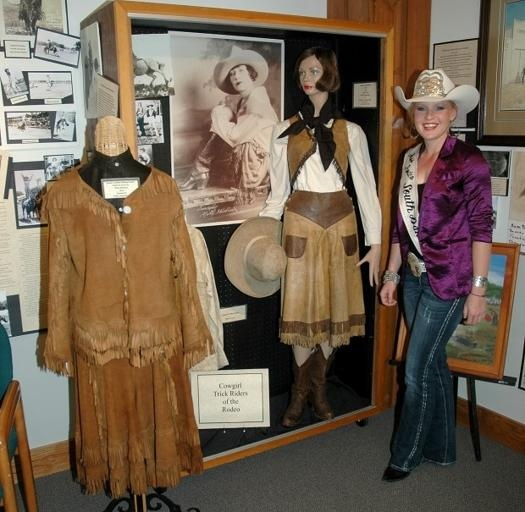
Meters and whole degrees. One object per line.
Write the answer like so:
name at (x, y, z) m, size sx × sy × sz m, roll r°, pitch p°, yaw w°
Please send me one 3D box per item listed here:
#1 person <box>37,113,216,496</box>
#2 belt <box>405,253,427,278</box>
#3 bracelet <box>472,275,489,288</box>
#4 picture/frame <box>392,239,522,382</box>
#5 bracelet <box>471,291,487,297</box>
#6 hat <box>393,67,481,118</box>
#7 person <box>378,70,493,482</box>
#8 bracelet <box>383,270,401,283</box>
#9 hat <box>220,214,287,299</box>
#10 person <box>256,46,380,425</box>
person at (-0.504, 0.234, 1.838) m, size 0.622 × 1.476 × 0.282 m, roll -6°, pitch 10°, yaw -27°
belt at (0.724, 0.044, 2.266) m, size 0.036 × 0.107 × 0.071 m, roll -20°, pitch 11°, yaw -21°
bracelet at (0.957, 0.115, 2.108) m, size 0.059 × 0.064 × 0.026 m, roll 0°, pitch 9°, yaw 5°
picture/frame at (0.953, 0.254, 2.303) m, size 0.549 × 0.897 × 0.062 m, roll 6°, pitch 4°, yaw 30°
bracelet at (0.951, 0.172, 2.119) m, size 0.059 × 0.024 × 0.019 m, roll 3°, pitch 11°, yaw 20°
hat at (0.808, -0.766, 2.212) m, size 0.376 × 0.202 × 0.287 m, roll 0°, pitch 11°, yaw 5°
person at (0.803, 0.118, 2.299) m, size 0.455 × 1.939 × 0.351 m, roll 2°, pitch 10°, yaw 15°
bracelet at (0.669, 0.110, 2.466) m, size 0.053 × 0.046 × 0.070 m, roll 2°, pitch 4°, yaw 7°
hat at (-0.037, 0.029, 2.428) m, size 0.343 × 0.393 × 0.100 m, roll -30°, pitch 29°, yaw -28°
person at (0.313, -0.047, 2.513) m, size 0.638 × 1.979 × 0.374 m, roll -1°, pitch 9°, yaw -2°
